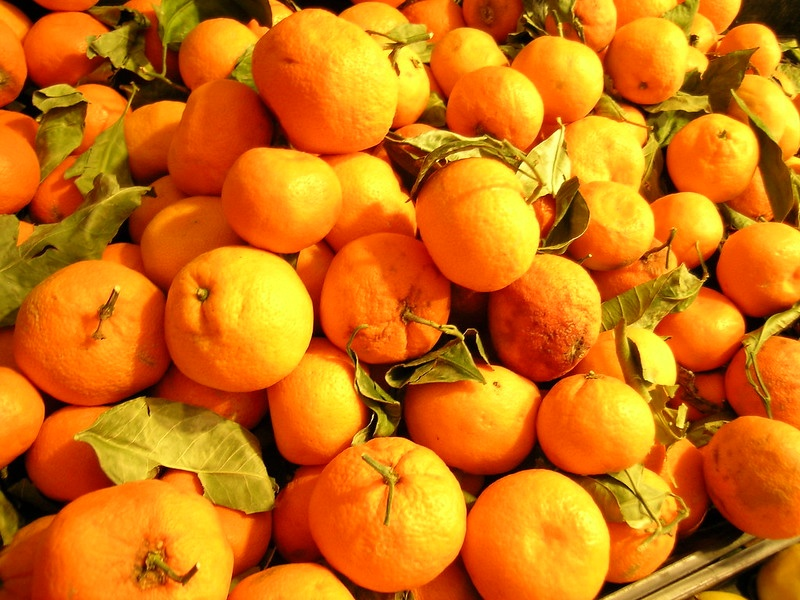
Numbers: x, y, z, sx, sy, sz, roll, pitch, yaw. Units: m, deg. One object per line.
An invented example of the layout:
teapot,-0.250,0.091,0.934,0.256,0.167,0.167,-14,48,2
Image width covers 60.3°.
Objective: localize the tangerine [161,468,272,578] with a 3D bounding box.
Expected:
tangerine,-0.384,0.438,1.541,0.203,0.252,0.231,8,87,35
